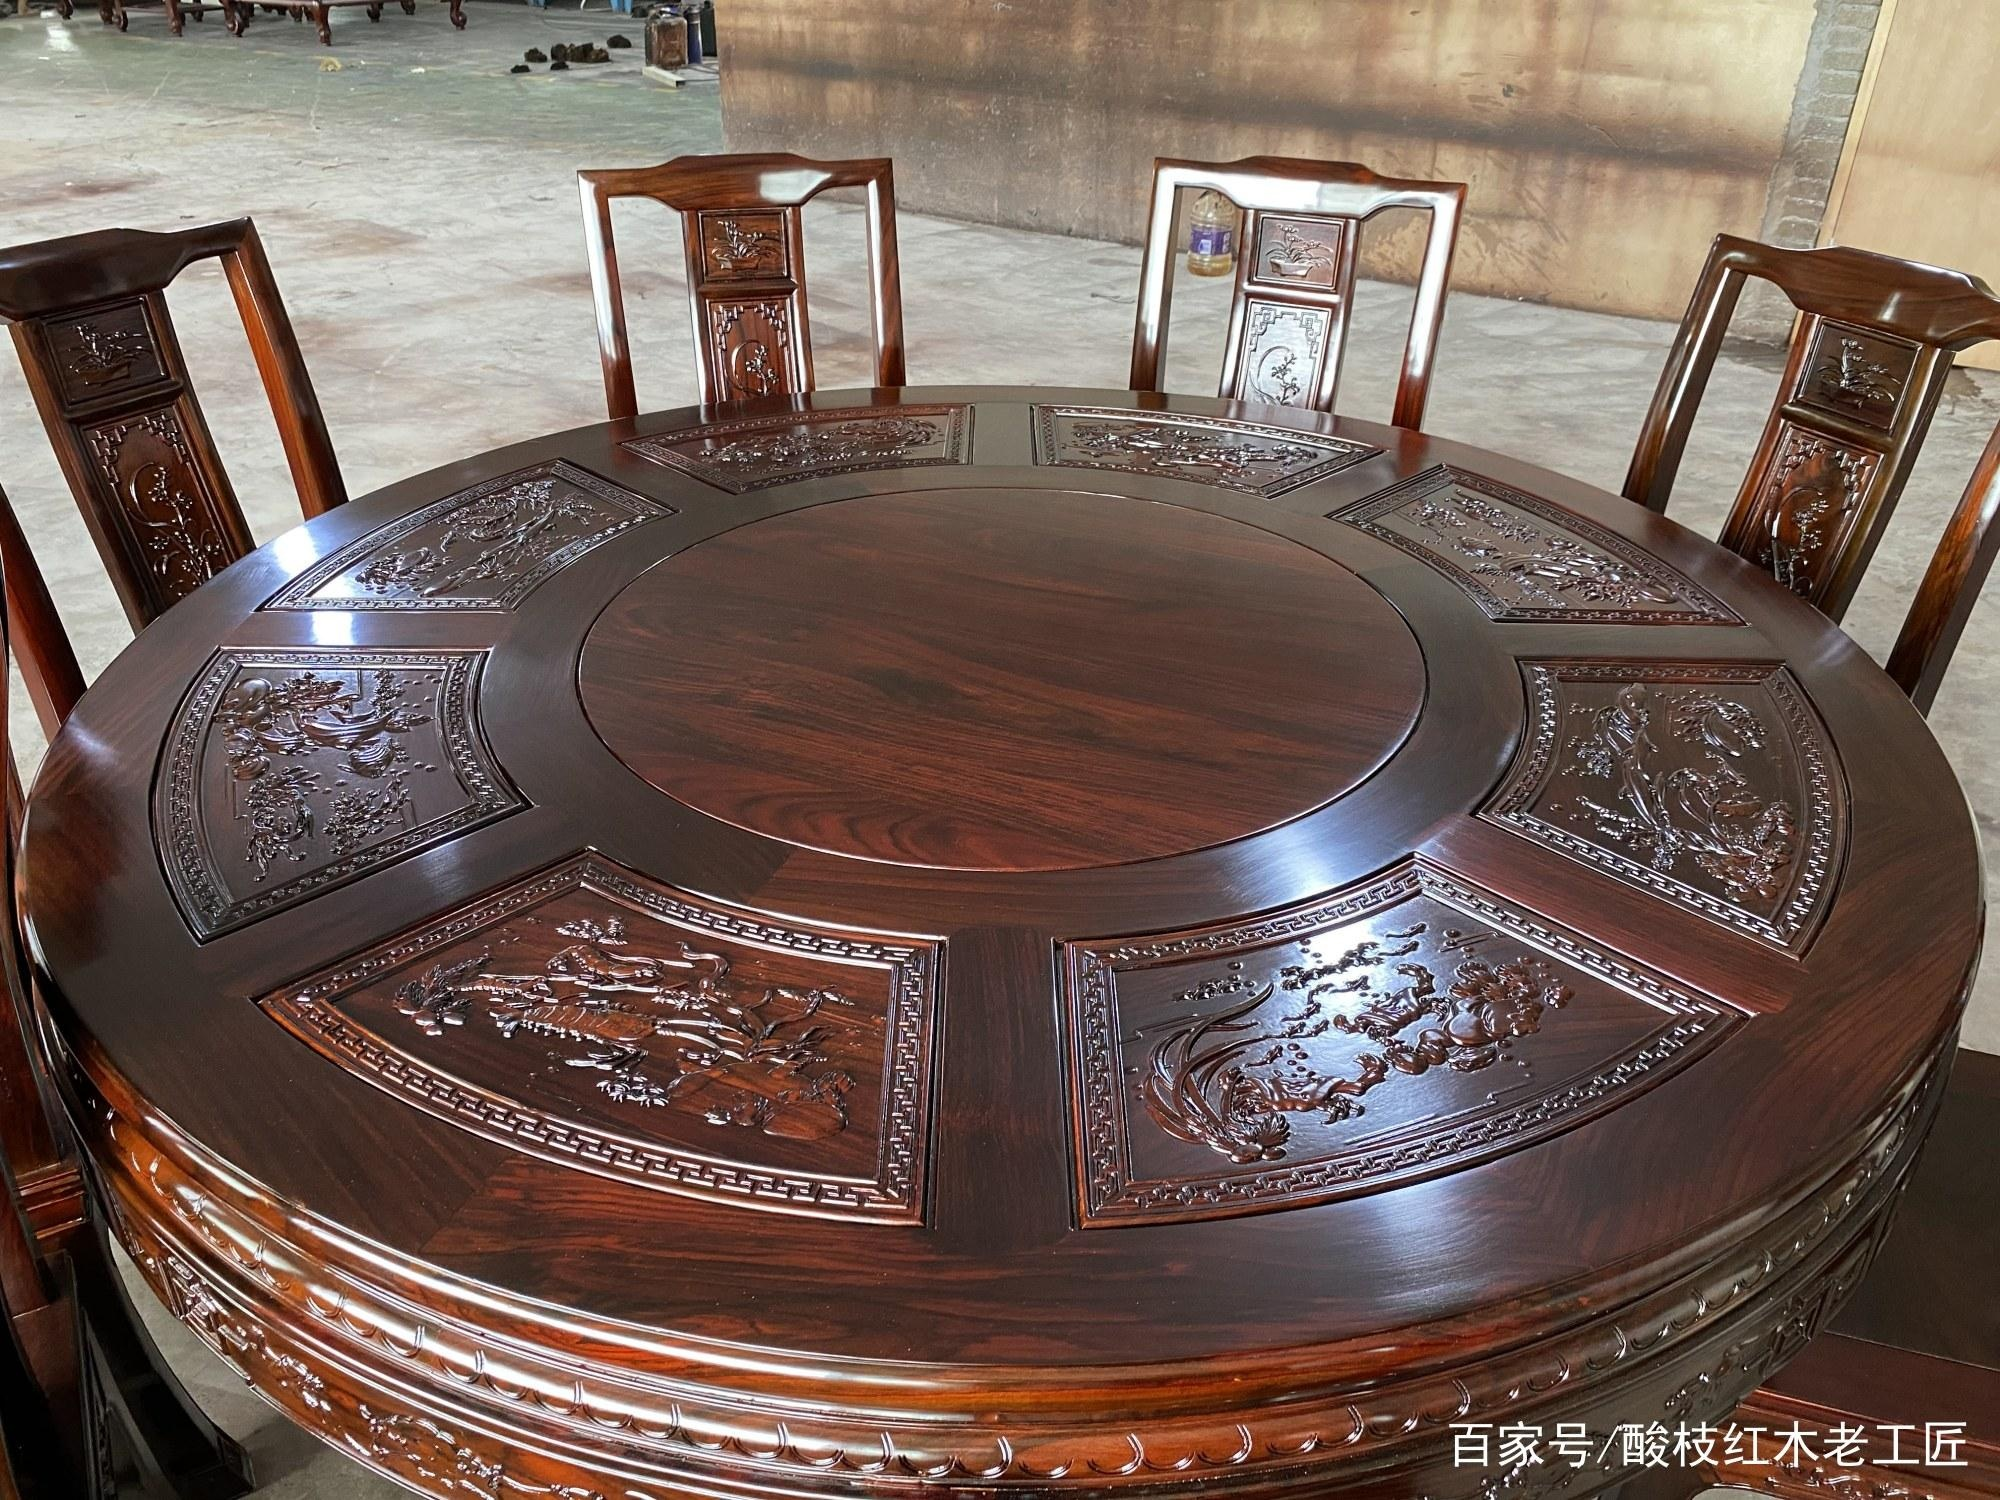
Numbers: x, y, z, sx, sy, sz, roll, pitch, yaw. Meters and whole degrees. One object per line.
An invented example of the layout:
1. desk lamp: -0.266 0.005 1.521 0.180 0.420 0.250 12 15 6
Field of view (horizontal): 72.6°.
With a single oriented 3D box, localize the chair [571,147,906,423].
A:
1. chair: -0.416 -0.789 2.312 0.568 0.400 0.448 -9 33 -17
